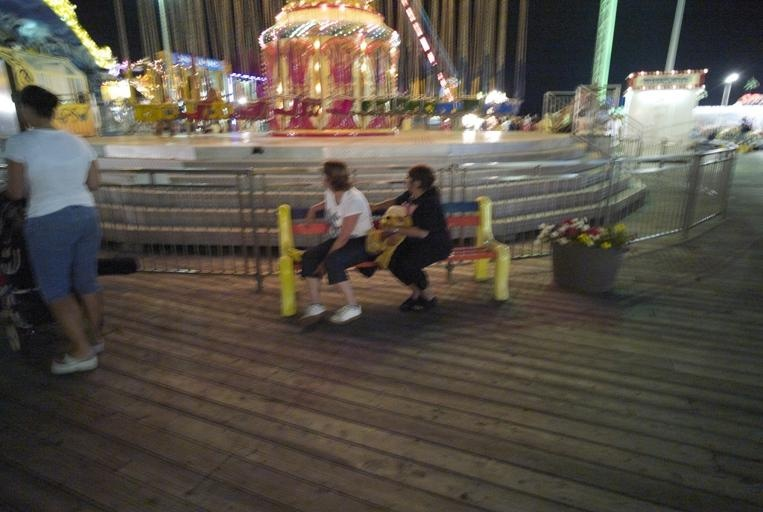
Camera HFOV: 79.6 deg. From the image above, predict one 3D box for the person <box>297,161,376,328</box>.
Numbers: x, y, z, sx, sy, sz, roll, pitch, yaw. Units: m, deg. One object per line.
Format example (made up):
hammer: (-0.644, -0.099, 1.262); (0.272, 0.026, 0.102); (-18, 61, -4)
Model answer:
person: (-0.527, -0.187, 5.158); (0.879, 1.764, 0.904); (-4, 22, -1)

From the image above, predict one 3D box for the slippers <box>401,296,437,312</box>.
slippers: (0.433, 0.560, 5.424); (0.503, 0.157, 0.153); (-1, 14, -15)

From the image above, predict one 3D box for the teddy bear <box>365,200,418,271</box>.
teddy bear: (0.084, -0.225, 5.180); (0.601, 0.687, 0.351); (19, 1, 32)

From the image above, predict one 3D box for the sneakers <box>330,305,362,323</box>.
sneakers: (-0.384, 0.653, 5.116); (0.379, 0.136, 0.156); (-11, 42, 4)

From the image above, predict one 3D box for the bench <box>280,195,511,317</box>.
bench: (0.134, -0.045, 5.649); (2.801, 1.091, 0.863); (-3, 26, -5)

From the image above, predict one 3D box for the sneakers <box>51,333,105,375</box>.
sneakers: (-2.855, 0.995, 4.357); (0.193, 0.152, 0.434); (1, -1, 38)

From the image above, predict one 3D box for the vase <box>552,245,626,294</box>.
vase: (2.654, 0.166, 5.873); (0.819, 0.421, 0.700); (0, -2, 33)

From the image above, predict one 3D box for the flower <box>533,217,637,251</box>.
flower: (2.586, -0.283, 5.766); (0.817, 0.220, 0.518); (-4, 16, 1)
